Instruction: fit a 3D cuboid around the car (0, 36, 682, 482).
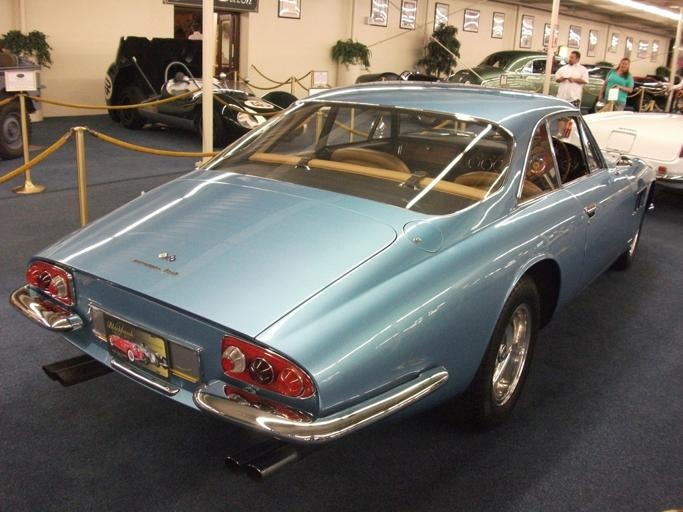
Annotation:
[{"bbox_3d":[0.620,-0.384,2.559,1.649,0.973,3.443,21,33,35],"label":"car"}]
